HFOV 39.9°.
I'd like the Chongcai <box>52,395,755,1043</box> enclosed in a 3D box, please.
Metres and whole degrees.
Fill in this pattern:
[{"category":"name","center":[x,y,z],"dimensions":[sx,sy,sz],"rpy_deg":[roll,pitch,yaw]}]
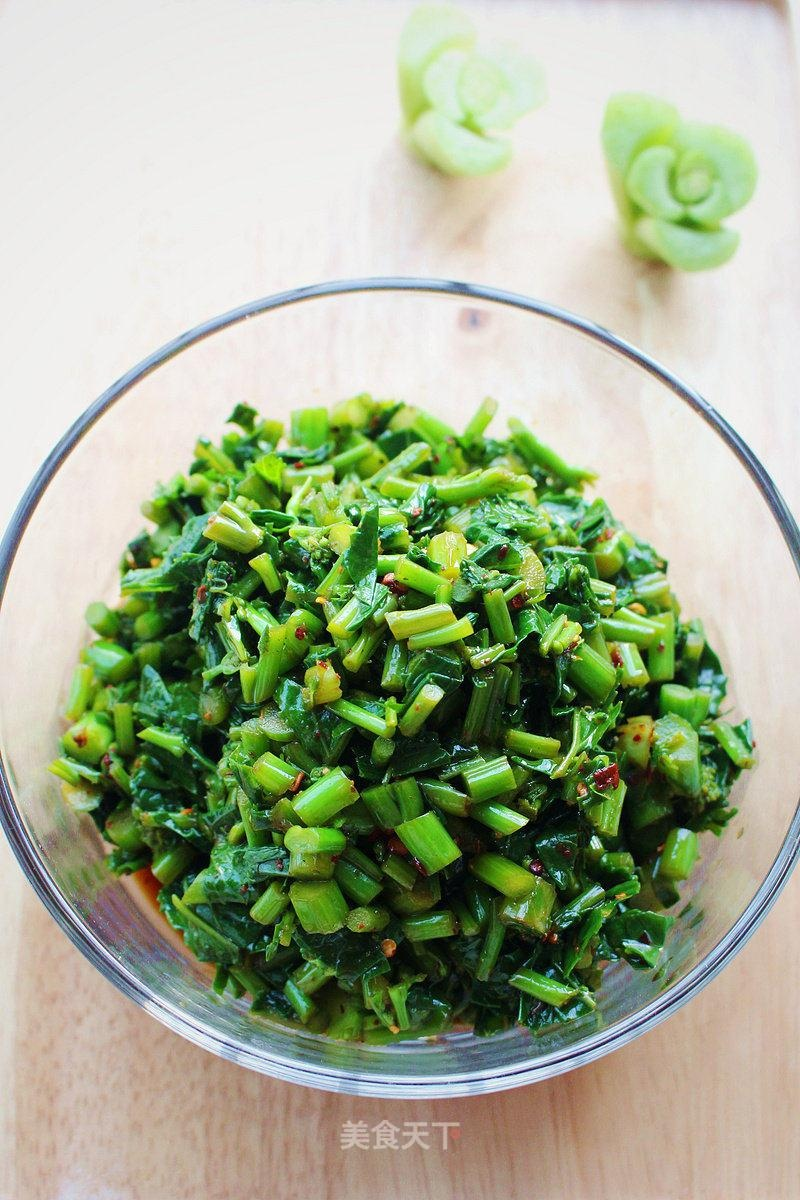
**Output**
[{"category":"Chongcai","center":[0.024,0.289,2.950],"dimensions":[1.400,1.777,1.464],"rpy_deg":[-2,106,4]}]
